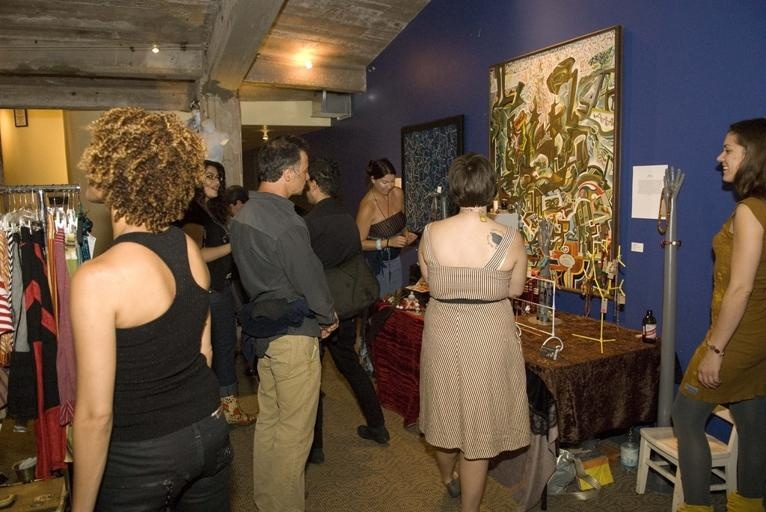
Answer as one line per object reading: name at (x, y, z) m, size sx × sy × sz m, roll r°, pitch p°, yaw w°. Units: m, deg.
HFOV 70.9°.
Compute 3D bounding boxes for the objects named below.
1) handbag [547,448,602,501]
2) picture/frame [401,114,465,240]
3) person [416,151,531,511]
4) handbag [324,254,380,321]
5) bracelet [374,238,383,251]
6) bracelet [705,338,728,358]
handbag at (1.200, 1.397, 3.388) m, size 0.320 × 0.140 × 0.296 m, roll -1°, pitch 2°, yaw 30°
picture/frame at (0.442, -0.713, 4.661) m, size 0.066 × 1.437 × 1.209 m, roll -5°, pitch 8°, yaw -23°
person at (0.501, 0.439, 2.967) m, size 0.642 × 1.949 × 0.390 m, roll 3°, pitch 13°, yaw 16°
handbag at (-0.206, 0.208, 3.506) m, size 0.399 × 0.393 × 0.222 m, roll -26°, pitch 4°, yaw -30°
bracelet at (-0.038, -0.094, 4.548) m, size 0.052 × 0.085 × 0.083 m, roll 1°, pitch -11°, yaw -2°
bracelet at (1.737, 0.466, 2.792) m, size 0.082 × 0.031 × 0.074 m, roll 14°, pitch 27°, yaw -50°
